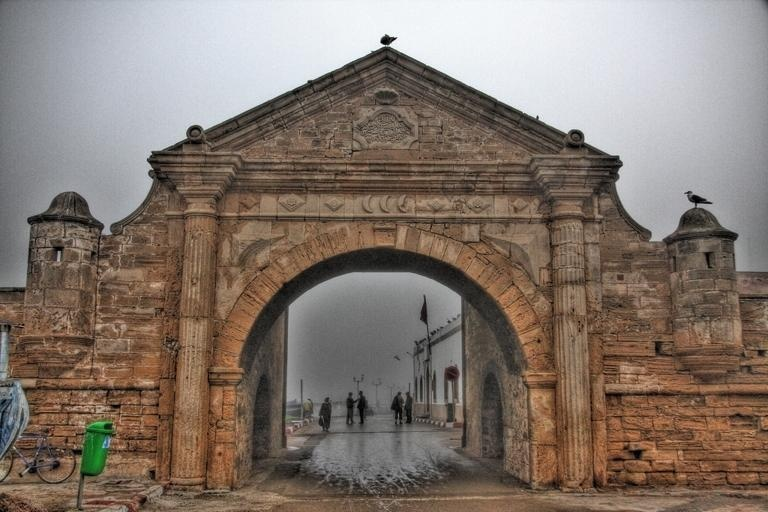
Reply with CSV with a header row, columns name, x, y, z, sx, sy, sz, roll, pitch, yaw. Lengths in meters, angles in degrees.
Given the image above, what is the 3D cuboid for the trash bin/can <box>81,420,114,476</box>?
name,x,y,z,sx,sy,sz,roll,pitch,yaw
trash bin/can,-5.130,3.450,12.825,0.459,0.901,0.310,6,-19,-21
